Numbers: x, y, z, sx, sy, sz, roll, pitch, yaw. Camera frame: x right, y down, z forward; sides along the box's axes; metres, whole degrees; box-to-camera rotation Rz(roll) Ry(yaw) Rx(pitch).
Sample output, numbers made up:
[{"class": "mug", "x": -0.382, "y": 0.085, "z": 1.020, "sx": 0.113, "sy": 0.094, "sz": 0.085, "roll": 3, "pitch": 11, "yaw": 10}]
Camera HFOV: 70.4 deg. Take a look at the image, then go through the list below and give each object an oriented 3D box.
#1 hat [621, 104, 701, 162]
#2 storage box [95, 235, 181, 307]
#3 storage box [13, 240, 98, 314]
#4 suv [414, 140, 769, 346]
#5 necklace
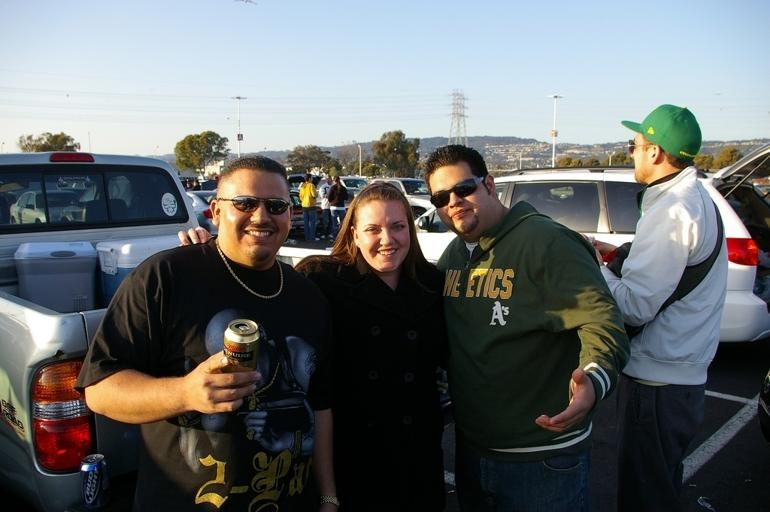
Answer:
[{"class": "hat", "x": 1.804, "y": -0.863, "z": 3.530, "sx": 0.333, "sy": 0.275, "sz": 0.510, "roll": -11, "pitch": 33, "yaw": -45}, {"class": "storage box", "x": -2.058, "y": 0.119, "z": 4.707, "sx": 0.464, "sy": 0.582, "sz": 0.815, "roll": 2, "pitch": 7, "yaw": 18}, {"class": "storage box", "x": -2.650, "y": 0.303, "z": 4.430, "sx": 0.570, "sy": 0.730, "sz": 0.401, "roll": -5, "pitch": -29, "yaw": -32}, {"class": "suv", "x": 2.420, "y": -0.318, "z": 6.724, "sx": 3.953, "sy": 1.659, "sz": 2.010, "roll": 8, "pitch": 9, "yaw": 21}, {"class": "necklace", "x": -0.697, "y": 0.082, "z": 2.645, "sx": 0.235, "sy": 0.323, "sz": 0.021, "roll": -19, "pitch": -12, "yaw": -44}]
